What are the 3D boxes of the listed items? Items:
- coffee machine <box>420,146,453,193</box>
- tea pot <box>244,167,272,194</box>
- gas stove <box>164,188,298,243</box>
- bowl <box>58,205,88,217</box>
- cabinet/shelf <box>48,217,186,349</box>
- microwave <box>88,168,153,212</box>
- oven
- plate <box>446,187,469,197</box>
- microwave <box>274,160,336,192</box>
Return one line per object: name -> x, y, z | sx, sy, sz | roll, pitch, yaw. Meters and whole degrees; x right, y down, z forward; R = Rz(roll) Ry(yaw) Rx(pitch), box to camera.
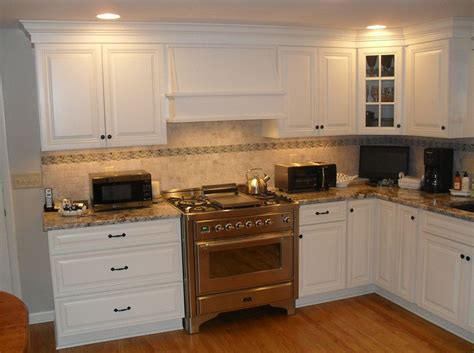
coffee machine -> 2.117, -0.071, 4.141 | 0.316, 0.456, 0.223 | 1, 12, 14
tea pot -> 0.212, 0.037, 4.215 | 0.309, 0.246, 0.191 | -7, 21, -26
gas stove -> -0.039, 0.366, 3.896 | 1.145, 0.308, 0.548 | -5, 11, -16
bowl -> -1.510, 0.317, 3.612 | 0.238, 0.066, 0.136 | -5, 11, -19
cabinet/shelf -> -1.091, 0.928, 3.523 | 1.224, 0.991, 0.602 | -3, 9, -17
microwave -> -1.087, 0.140, 3.684 | 0.590, 0.331, 0.386 | -5, 11, -23
oven -> -0.051, 0.962, 4.015 | 1.138, 0.860, 0.711 | -2, 1, -28
plate -> 2.248, 0.163, 3.982 | 0.181, 0.057, 0.084 | 6, 13, 35
microwave -> 0.729, -0.112, 4.324 | 0.571, 0.238, 0.360 | -5, 10, -23
